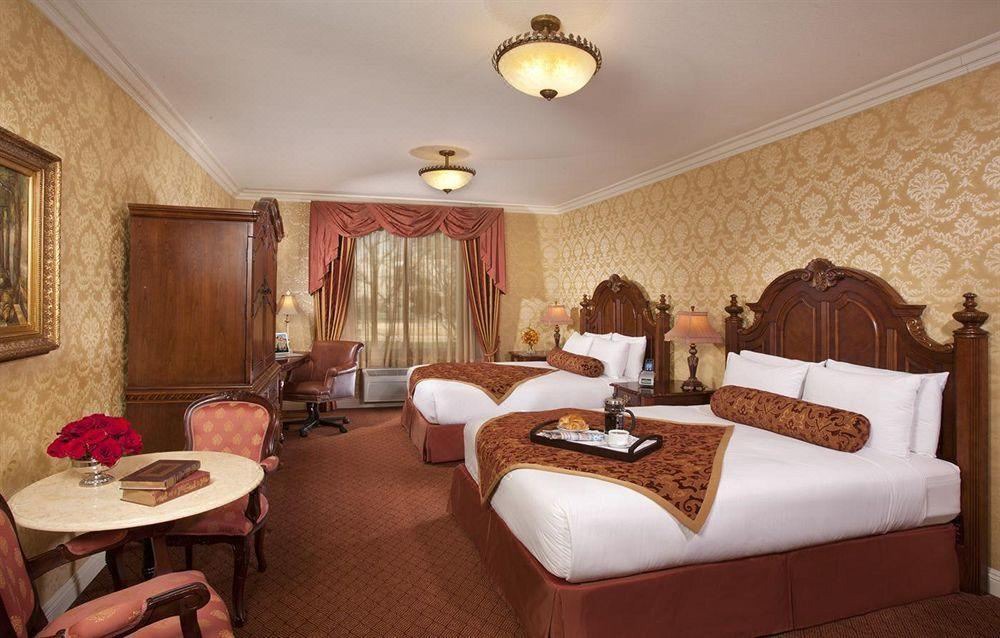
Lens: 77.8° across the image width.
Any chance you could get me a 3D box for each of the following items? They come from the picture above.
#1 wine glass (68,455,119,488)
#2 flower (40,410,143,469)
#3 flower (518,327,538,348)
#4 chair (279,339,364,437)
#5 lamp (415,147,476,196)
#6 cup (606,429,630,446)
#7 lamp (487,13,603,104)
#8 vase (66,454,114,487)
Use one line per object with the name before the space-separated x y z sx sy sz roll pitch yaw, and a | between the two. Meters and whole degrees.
wine glass | -2.547 0.954 3.899 0.217 0.146 0.218 2 -2 3
flower | -2.580 0.711 3.904 0.397 0.282 0.400 -5 -6 34
flower | 0.459 0.289 9.405 0.275 0.293 0.277 1 -4 -34
chair | -2.317 0.908 8.135 0.930 1.133 1.466 0 12 -9
lamp | -0.610 -1.679 7.122 0.638 0.495 0.646 3 -5 -38
cup | 0.887 0.883 4.638 0.103 0.054 0.128 2 -1 -31
lamp | 0.366 -2.004 4.825 0.865 0.616 0.861 1 1 -17
vase | -2.578 0.933 3.912 0.213 0.156 0.212 2 -1 -19
